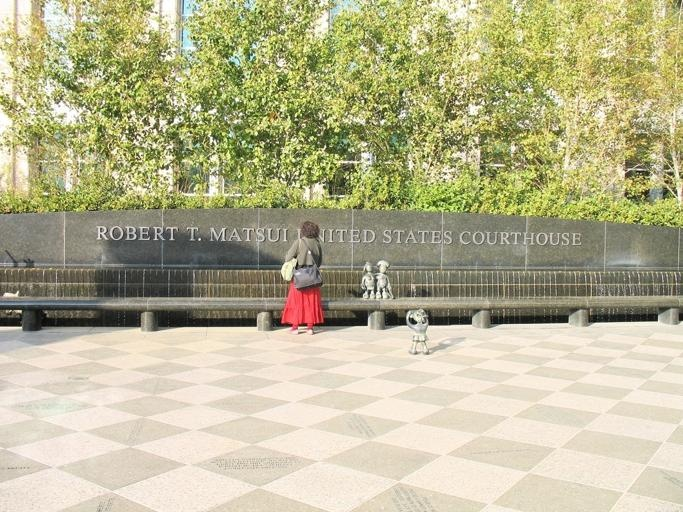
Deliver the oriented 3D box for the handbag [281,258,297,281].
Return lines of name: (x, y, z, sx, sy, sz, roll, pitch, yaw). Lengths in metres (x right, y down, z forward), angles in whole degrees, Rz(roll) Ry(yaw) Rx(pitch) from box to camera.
handbag: (-0.936, 0.257, 13.894, 0.319, 0.370, 0.161, 2, -8, 28)

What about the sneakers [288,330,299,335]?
sneakers: (-0.879, 1.359, 13.802, 0.174, 0.090, 0.300, 0, 14, -3)

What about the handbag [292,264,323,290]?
handbag: (-0.655, 0.380, 13.679, 0.462, 0.353, 0.173, -5, 10, -6)

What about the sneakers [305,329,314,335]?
sneakers: (-0.606, 1.386, 13.831, 0.092, 0.069, 0.242, 0, 6, -5)
